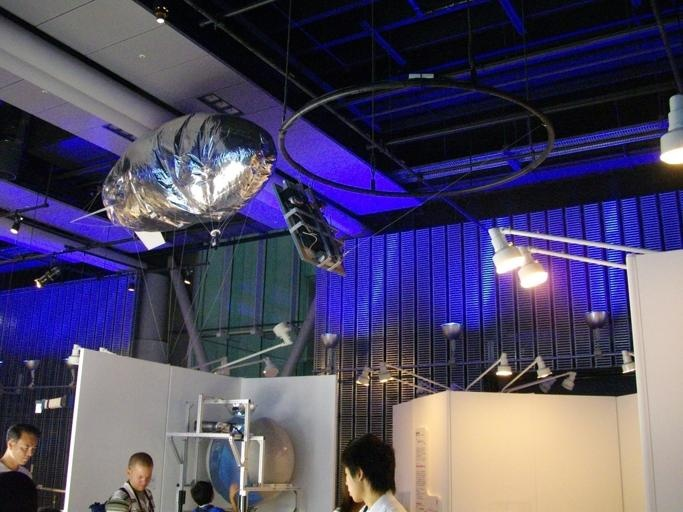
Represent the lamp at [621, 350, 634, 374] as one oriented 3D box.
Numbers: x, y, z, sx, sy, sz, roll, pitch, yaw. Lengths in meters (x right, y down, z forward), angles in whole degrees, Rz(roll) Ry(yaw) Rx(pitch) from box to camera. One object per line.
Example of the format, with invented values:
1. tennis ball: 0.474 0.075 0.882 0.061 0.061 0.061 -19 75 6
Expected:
1. lamp: 3.892 1.414 8.568 0.146 0.356 0.975 -7 -18 23
